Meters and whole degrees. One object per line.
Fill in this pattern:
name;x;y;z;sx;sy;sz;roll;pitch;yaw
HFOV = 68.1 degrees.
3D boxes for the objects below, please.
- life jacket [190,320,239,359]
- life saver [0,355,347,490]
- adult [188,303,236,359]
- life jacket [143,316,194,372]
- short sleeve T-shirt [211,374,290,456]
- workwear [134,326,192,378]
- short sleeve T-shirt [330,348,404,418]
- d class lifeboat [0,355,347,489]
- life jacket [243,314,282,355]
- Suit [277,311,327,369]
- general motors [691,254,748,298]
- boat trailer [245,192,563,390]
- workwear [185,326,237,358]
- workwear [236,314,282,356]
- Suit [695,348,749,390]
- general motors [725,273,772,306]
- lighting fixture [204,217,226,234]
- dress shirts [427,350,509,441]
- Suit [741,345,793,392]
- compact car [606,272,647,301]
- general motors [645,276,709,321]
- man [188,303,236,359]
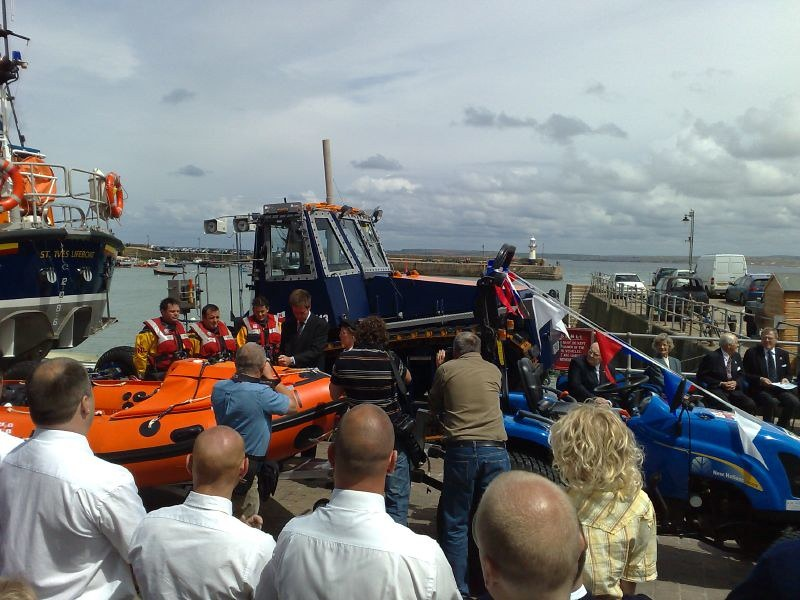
life jacket;-2.010;0.471;6.427;0.417;0.503;0.281;-1;-17;-46
life saver;-1.995;0.784;5.190;2.408;0.702;1.369;2;-2;14
adult;-2.047;0.407;6.417;0.346;0.609;0.458;-6;-1;36
life jacket;-2.418;0.464;6.247;0.314;0.539;0.429;-16;-9;32
short sleeve T-shirt;-1.090;0.815;4.238;0.606;0.554;0.385;8;6;29
workwear;-2.408;0.545;6.014;0.300;0.557;0.545;-5;-3;43
short sleeve T-shirt;-0.203;0.671;4.526;0.648;0.590;0.366;-1;0;14
d class lifeboat;-1.981;1.027;5.187;2.363;0.684;1.370;2;-2;14
life jacket;-1.514;0.341;6.735;0.428;0.330;0.511;-10;-44;1
Suit;-1.044;0.523;6.277;0.555;0.682;0.464;1;2;13
general motors;15.220;-1.236;28.332;1.626;1.753;3.599;-1;5;11
boat trailer;-0.082;-0.177;7.412;3.508;1.846;2.109;1;5;16
workwear;-2.026;0.468;6.295;0.172;0.286;0.317;-23;-11;32
workwear;-1.459;0.374;6.153;0.442;0.402;0.250;3;-8;-33
Suit;3.981;0.905;7.256;0.622;0.572;0.382;5;3;-15
general motors;12.395;-0.313;21.052;1.131;0.798;2.359;0;8;10
lighting fixture;-2.372;-0.942;7.585;0.249;0.181;0.098;0;7;-3
dress shirts;0.431;0.742;4.439;0.691;0.809;0.524;-2;-22;-1
Suit;4.611;0.872;7.384;0.554;0.507;0.316;-2;4;19
compact car;9.305;-0.561;24.211;1.394;1.051;2.953;-1;-4;9
general motors;9.908;-0.187;21.074;1.549;1.300;2.769;1;6;14
man;-2.028;0.399;6.426;0.479;0.613;0.452;-5;1;-6
